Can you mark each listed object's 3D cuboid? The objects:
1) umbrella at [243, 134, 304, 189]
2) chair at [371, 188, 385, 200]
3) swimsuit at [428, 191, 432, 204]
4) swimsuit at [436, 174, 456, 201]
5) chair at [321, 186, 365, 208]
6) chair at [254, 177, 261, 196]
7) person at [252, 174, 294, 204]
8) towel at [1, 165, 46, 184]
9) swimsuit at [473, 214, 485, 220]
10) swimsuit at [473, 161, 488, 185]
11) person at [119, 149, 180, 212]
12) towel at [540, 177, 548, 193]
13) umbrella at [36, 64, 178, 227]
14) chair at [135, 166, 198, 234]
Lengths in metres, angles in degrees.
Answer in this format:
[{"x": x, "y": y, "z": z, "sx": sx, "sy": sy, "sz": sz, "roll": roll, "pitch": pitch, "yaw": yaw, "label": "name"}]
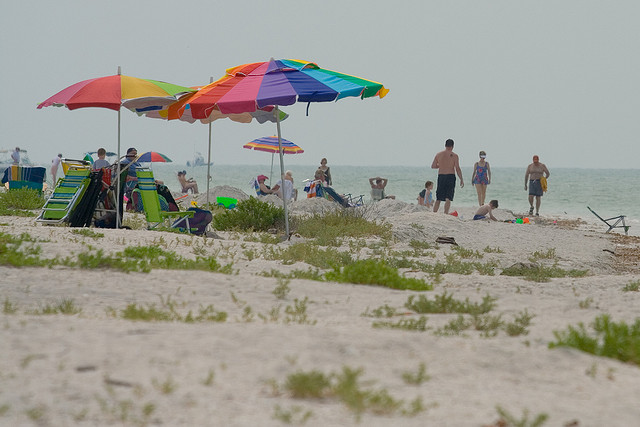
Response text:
[{"x": -1.285, "y": -1.493, "z": 26.719, "sx": 1.606, "sy": 1.723, "sz": 1.744, "roll": 3, "pitch": -1, "yaw": -17, "label": "umbrella"}, {"x": 1.533, "y": -0.577, "z": 25.282, "sx": 0.235, "sy": 0.345, "sz": 0.336, "roll": 1, "pitch": 8, "yaw": 16, "label": "chair"}, {"x": 2.934, "y": -0.459, "z": 25.057, "sx": 0.078, "sy": 0.320, "sz": 0.356, "roll": 5, "pitch": 6, "yaw": 13, "label": "swimsuit"}, {"x": 2.949, "y": -0.581, "z": 21.909, "sx": 0.424, "sy": 0.690, "sz": 0.378, "roll": -4, "pitch": -23, "yaw": 12, "label": "swimsuit"}, {"x": 0.594, "y": -0.416, "z": 24.183, "sx": 0.857, "sy": 0.388, "sz": 0.538, "roll": 0, "pitch": 7, "yaw": -10, "label": "chair"}, {"x": -1.613, "y": -0.723, "z": 24.010, "sx": 0.175, "sy": 0.370, "sz": 0.253, "roll": 1, "pitch": 5, "yaw": 30, "label": "chair"}, {"x": -1.139, "y": -0.683, "z": 23.063, "sx": 1.380, "sy": 0.873, "sz": 0.614, "roll": -1, "pitch": 15, "yaw": 2, "label": "person"}, {"x": -8.310, "y": -1.161, "z": 26.146, "sx": 0.620, "sy": 0.370, "sz": 0.837, "roll": -3, "pitch": 8, "yaw": -37, "label": "towel"}, {"x": 3.809, "y": 0.053, "z": 22.550, "sx": 0.177, "sy": 0.107, "sz": 0.596, "roll": 7, "pitch": 6, "yaw": 20, "label": "swimsuit"}, {"x": 4.381, "y": -1.104, "z": 25.553, "sx": 0.386, "sy": 0.582, "sz": 0.345, "roll": 5, "pitch": 5, "yaw": 8, "label": "swimsuit"}, {"x": -3.118, "y": -0.657, "z": 17.606, "sx": 0.674, "sy": 1.098, "sz": 0.700, "roll": 8, "pitch": 20, "yaw": -31, "label": "person"}, {"x": 6.292, "y": -0.869, "z": 26.561, "sx": 0.262, "sy": 0.360, "sz": 0.117, "roll": 2, "pitch": 3, "yaw": -40, "label": "towel"}, {"x": -3.800, "y": -1.335, "z": 17.475, "sx": 2.360, "sy": 3.177, "sz": 2.503, "roll": -4, "pitch": 11, "yaw": -20, "label": "umbrella"}, {"x": -2.734, "y": -0.119, "z": 17.357, "sx": 0.927, "sy": 1.427, "sz": 0.770, "roll": 2, "pitch": 0, "yaw": -20, "label": "chair"}]
